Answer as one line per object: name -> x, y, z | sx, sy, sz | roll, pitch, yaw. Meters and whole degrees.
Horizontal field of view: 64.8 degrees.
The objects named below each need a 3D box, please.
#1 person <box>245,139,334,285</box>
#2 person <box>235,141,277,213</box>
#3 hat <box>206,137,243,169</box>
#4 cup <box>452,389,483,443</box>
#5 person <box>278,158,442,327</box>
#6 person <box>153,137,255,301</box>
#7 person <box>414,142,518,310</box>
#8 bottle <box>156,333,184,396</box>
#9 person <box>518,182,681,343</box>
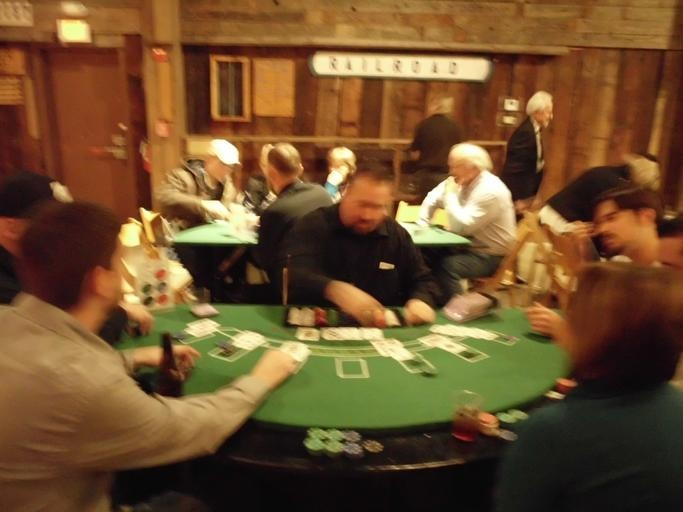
person -> -0.372, -0.326, 3.505 | 0.516, 0.960, 0.465 | -1, 15, -16
person -> -0.705, -0.652, 4.617 | 0.307, 0.686, 0.315 | -4, 18, -26
hat -> -0.956, -0.864, 4.380 | 0.190, 0.138, 0.252 | 17, 23, -42
cup -> 0.444, 0.566, 1.906 | 0.086, 0.149, 0.096 | 8, 18, 15
person -> 0.103, -0.011, 2.939 | 0.658, 0.946, 0.601 | 2, 15, -11
person -> -1.116, -0.311, 4.356 | 0.664, 1.380, 0.689 | 5, 14, -20
person -> 0.983, -0.324, 4.269 | 0.727, 1.312, 0.672 | 6, 17, 0
bottle -> -0.636, 0.390, 2.012 | 0.148, 0.214, 0.143 | 5, 11, -1
person -> 1.170, 0.025, 2.767 | 0.653, 0.841, 0.670 | 2, 12, 2
